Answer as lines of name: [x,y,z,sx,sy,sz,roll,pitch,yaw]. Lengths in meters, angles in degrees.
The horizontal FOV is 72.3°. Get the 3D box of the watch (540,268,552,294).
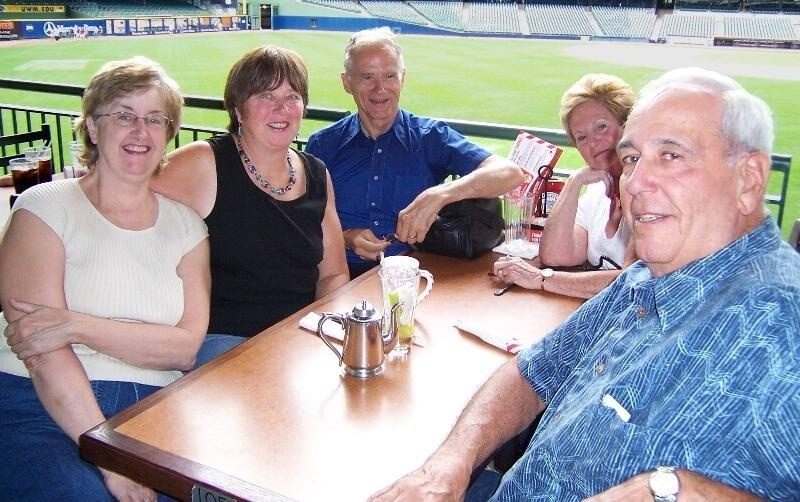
watch: [0.575,0.113,2.131,0.052,0.071,0.073,4,51,21]

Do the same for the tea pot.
tea pot: [-0.107,0.238,1.715,0.363,0.289,0.204,0,5,-9]

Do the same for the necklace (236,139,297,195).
necklace: [-0.587,-0.366,2.342,0.038,0.267,0.217,-27,3,42]

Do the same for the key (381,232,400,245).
key: [-0.049,-0.062,2.546,0.048,0.051,0.059,4,26,-13]

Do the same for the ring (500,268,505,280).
ring: [0.403,0.088,2.155,0.013,0.029,0.023,8,-21,-13]
